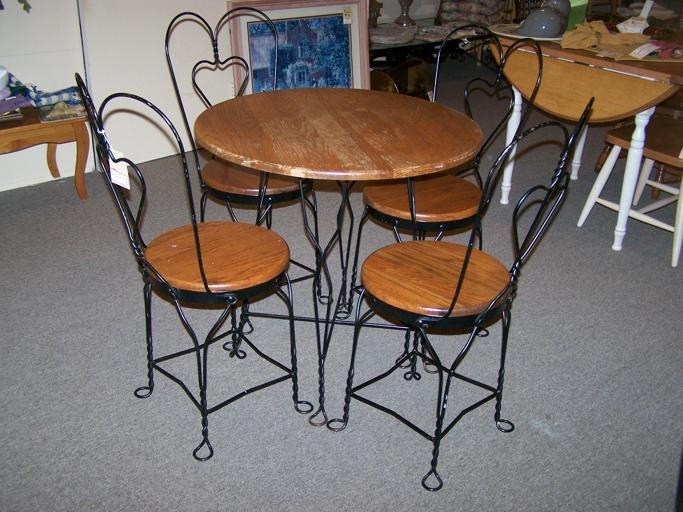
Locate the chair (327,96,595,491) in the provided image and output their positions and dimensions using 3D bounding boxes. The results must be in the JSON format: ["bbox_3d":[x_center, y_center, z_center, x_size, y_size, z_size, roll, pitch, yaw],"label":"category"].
[{"bbox_3d":[0.489,0.205,2.524,0.896,1.802,0.793,27,50,27],"label":"chair"}]
